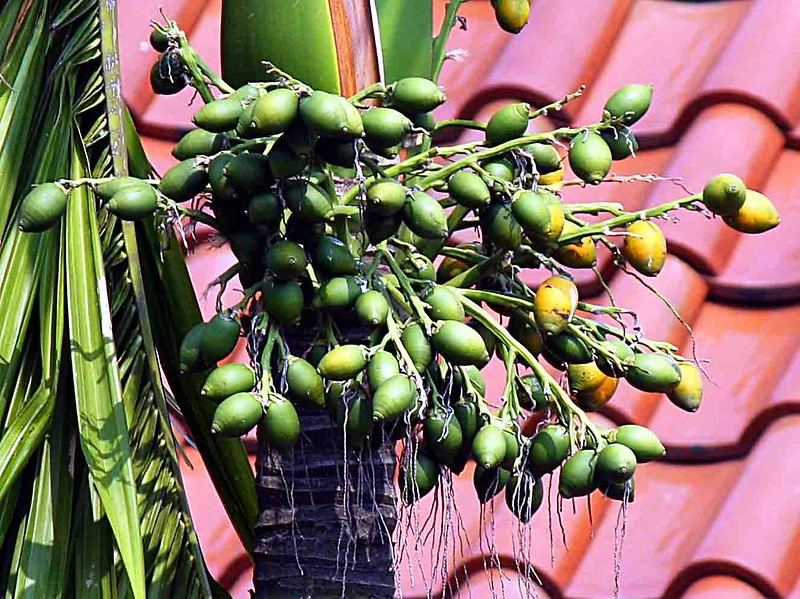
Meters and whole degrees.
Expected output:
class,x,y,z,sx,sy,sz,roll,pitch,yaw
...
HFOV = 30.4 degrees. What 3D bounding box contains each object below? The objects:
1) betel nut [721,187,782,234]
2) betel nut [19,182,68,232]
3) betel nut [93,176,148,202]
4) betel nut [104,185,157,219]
class,x,y,z,sx,sy,sz,roll,pitch,yaw
betel nut,0.689,-0.170,2.825,0.090,0.082,0.121,-12,24,-25
betel nut,-0.660,-0.170,2.699,0.075,0.096,0.108,15,-2,-35
betel nut,-0.514,-0.203,2.696,0.084,0.052,0.043,-7,-4,-10
betel nut,-0.486,-0.172,2.678,0.078,0.050,0.053,-30,15,-23
